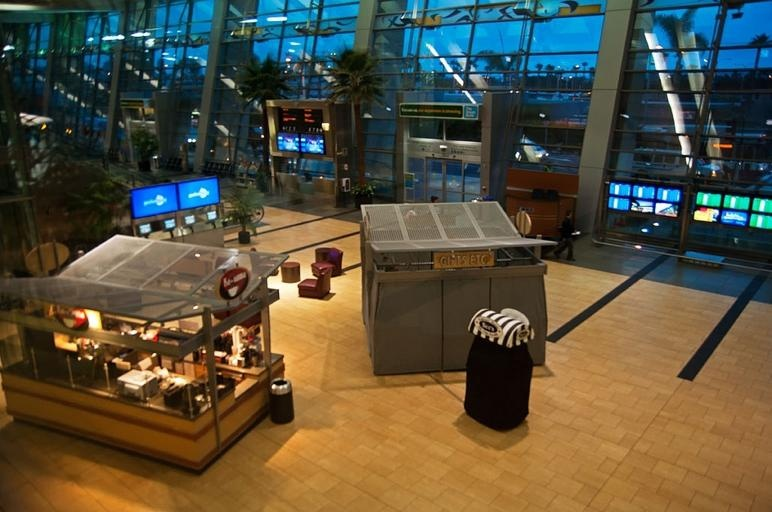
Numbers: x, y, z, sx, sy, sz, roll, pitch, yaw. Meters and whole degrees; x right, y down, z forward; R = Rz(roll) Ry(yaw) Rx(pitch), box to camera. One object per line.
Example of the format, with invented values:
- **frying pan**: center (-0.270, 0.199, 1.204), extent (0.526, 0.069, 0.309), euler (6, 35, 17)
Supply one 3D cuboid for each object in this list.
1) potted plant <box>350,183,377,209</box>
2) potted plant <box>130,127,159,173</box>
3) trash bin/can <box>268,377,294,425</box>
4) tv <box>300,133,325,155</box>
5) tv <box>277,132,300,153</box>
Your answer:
- **potted plant**: center (-1.151, -3.006, 26.105), extent (0.980, 1.184, 1.017), euler (0, 16, -5)
- **potted plant**: center (-16.077, -7.143, 35.261), extent (1.576, 2.698, 1.461), euler (-4, 17, -16)
- **trash bin/can**: center (-2.164, 3.044, 10.963), extent (0.513, 0.888, 0.344), euler (-2, 17, -12)
- **tv**: center (-3.665, -5.661, 26.497), extent (1.566, 1.008, 0.187), euler (12, 20, 35)
- **tv**: center (-4.989, -5.966, 27.279), extent (1.117, 0.762, 0.153), euler (12, 20, 37)
